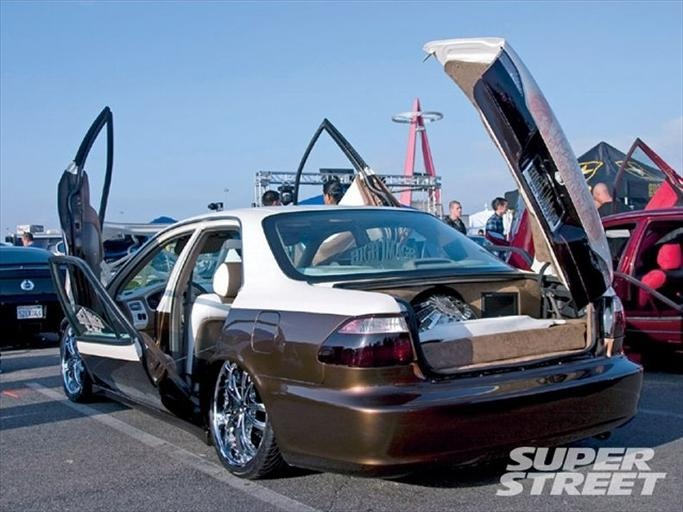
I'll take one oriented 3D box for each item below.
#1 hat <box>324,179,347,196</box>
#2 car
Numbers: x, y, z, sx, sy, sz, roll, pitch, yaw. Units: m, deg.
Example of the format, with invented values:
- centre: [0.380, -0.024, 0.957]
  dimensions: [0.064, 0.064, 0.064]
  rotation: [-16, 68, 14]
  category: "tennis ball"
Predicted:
- centre: [-0.057, -0.942, 8.623]
  dimensions: [0.248, 0.322, 0.303]
  rotation: [-2, 11, -18]
  category: "hat"
- centre: [-0.315, 0.363, 4.860]
  dimensions: [2.970, 2.025, 4.092]
  rotation: [-2, 5, -41]
  category: "car"
